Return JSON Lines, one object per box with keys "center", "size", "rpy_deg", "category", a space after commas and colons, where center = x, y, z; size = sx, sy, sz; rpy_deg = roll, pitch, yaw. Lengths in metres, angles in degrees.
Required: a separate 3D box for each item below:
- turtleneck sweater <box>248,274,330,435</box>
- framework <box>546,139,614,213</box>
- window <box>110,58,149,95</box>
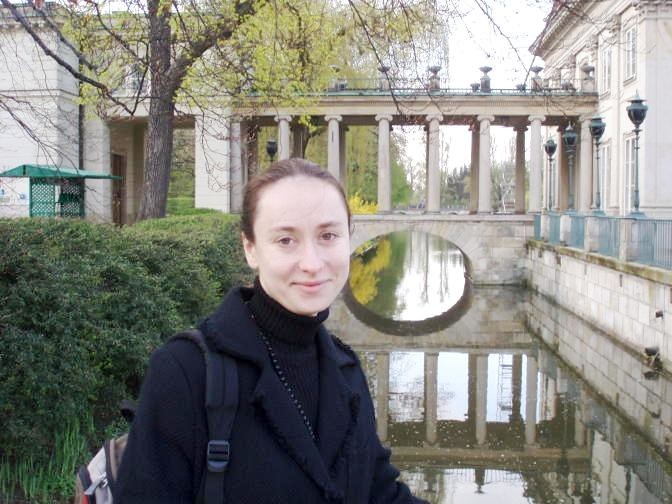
{"center": [-0.663, 1.479, 14.954], "size": [0.973, 2.423, 0.424], "rpy_deg": [4, -21, -35], "category": "turtleneck sweater"}
{"center": [9.413, -2.963, 39.406], "size": [0.704, 3.908, 3.142], "rpy_deg": [-3, 5, -16], "category": "framework"}
{"center": [-5.386, -4.612, 27.217], "size": [0.859, 0.155, 1.357], "rpy_deg": [-1, -36, -8], "category": "window"}
